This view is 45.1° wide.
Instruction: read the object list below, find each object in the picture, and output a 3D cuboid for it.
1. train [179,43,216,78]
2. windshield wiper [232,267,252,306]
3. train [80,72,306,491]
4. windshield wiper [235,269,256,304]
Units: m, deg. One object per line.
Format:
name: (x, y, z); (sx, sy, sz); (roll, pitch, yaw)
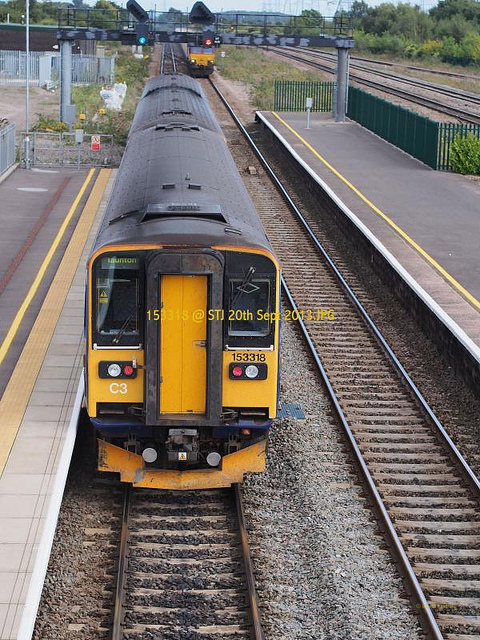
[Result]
train: (-4.627, -29.280, 64.765); (2.898, 3.465, 12.082); (-2, 30, -6)
windshield wiper: (0.022, -0.329, 5.872); (0.046, 0.385, 0.038); (26, 10, 31)
train: (-0.880, -0.598, 8.523); (2.125, 4.435, 5.906); (-1, 16, -6)
windshield wiper: (0.037, -0.358, 5.871); (0.042, 0.362, 0.041); (29, 10, 32)
